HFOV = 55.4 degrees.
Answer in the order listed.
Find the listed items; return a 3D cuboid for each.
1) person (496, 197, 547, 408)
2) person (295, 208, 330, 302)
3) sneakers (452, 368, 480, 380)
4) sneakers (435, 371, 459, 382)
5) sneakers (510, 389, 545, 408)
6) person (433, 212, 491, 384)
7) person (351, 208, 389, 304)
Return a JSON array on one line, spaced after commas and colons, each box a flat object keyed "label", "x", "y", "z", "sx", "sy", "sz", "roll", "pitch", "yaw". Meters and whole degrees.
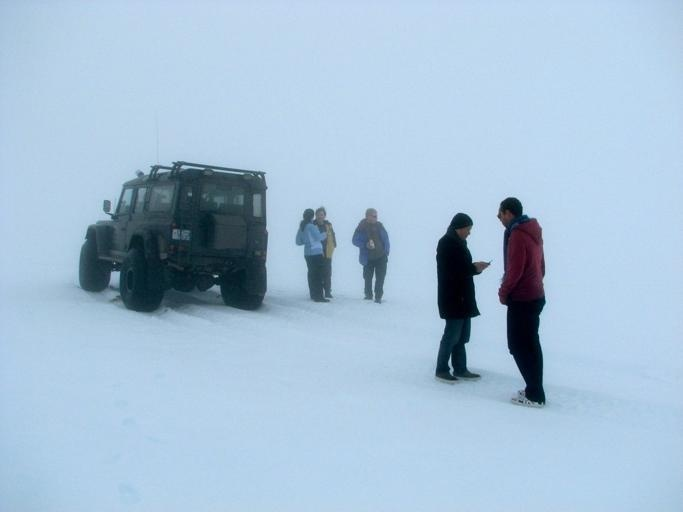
[{"label": "person", "x": 1.990, "y": 0.499, "z": 7.155, "sx": 0.625, "sy": 2.201, "sz": 0.514, "roll": 5, "pitch": 11, "yaw": 23}, {"label": "person", "x": -0.584, "y": 0.021, "z": 12.807, "sx": 0.516, "sy": 1.850, "sz": 0.649, "roll": -5, "pitch": 12, "yaw": -31}, {"label": "sneakers", "x": 1.507, "y": 1.424, "z": 7.933, "sx": 0.339, "sy": 0.175, "sz": 0.140, "roll": 1, "pitch": -1, "yaw": -8}, {"label": "sneakers", "x": 1.249, "y": 1.427, "z": 7.717, "sx": 0.242, "sy": 0.129, "sz": 0.105, "roll": -1, "pitch": -2, "yaw": 32}, {"label": "sneakers", "x": 2.014, "y": 1.550, "z": 7.073, "sx": 0.273, "sy": 0.138, "sz": 0.169, "roll": 18, "pitch": 8, "yaw": 28}, {"label": "person", "x": 1.366, "y": 0.529, "z": 7.723, "sx": 0.573, "sy": 2.049, "sz": 0.501, "roll": -6, "pitch": 12, "yaw": -31}, {"label": "person", "x": 0.578, "y": 0.051, "z": 13.031, "sx": 0.687, "sy": 1.979, "sz": 0.869, "roll": 1, "pitch": 11, "yaw": 2}]
